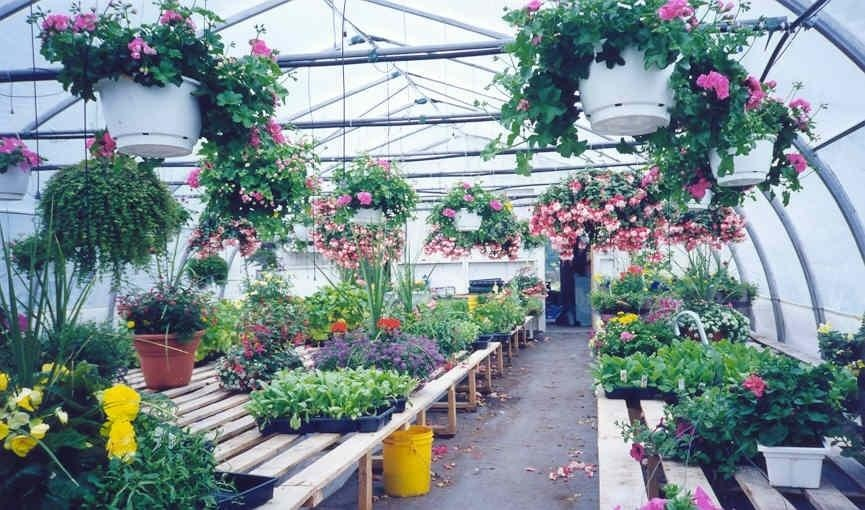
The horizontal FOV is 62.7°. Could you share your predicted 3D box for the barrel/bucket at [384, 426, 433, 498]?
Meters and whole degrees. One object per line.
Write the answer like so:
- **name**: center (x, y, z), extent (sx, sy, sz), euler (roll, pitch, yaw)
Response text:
- **barrel/bucket**: center (-0.215, 1.879, 6.543), extent (0.599, 0.632, 0.626), euler (0, -7, 0)
